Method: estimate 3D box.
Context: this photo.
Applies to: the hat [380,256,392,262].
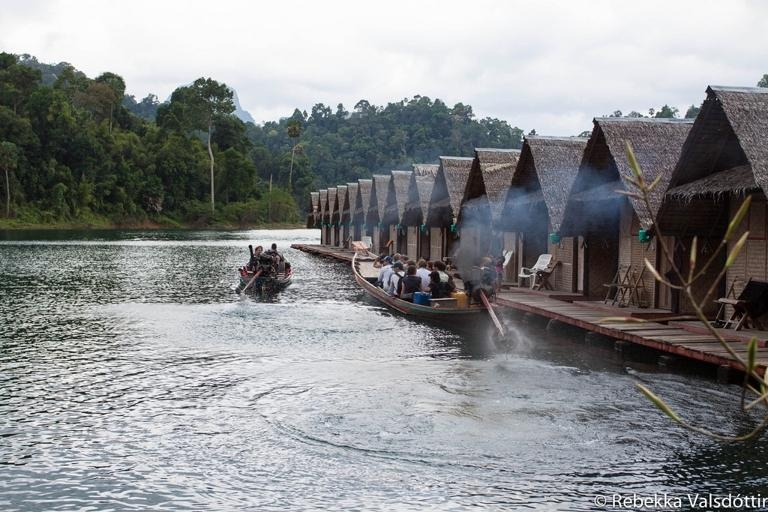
[{"bbox_3d":[0.074,0.065,26.584,0.271,0.195,0.344,4,-6,-36],"label":"hat"}]
